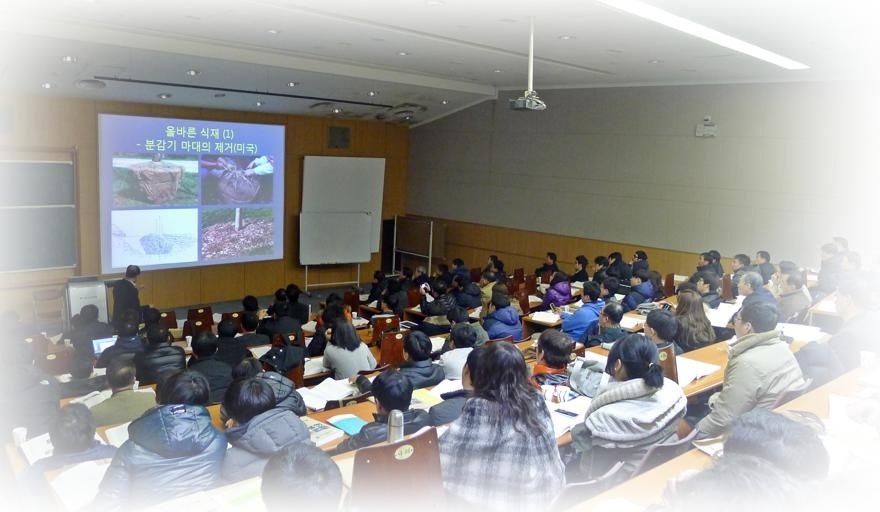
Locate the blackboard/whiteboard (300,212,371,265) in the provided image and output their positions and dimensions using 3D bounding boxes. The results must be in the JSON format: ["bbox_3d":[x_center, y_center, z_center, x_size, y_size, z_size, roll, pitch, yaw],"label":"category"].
[{"bbox_3d":[-2.611,-0.438,13.335,1.420,0.907,0.148,-1,4,-32],"label":"blackboard/whiteboard"}]

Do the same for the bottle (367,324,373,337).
[{"bbox_3d":[-1.007,1.085,7.964,0.072,0.107,0.108,2,-5,-12],"label":"bottle"}]

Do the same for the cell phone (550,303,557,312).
[{"bbox_3d":[1.843,0.835,8.888,0.024,0.093,0.099,-50,-11,34],"label":"cell phone"}]
